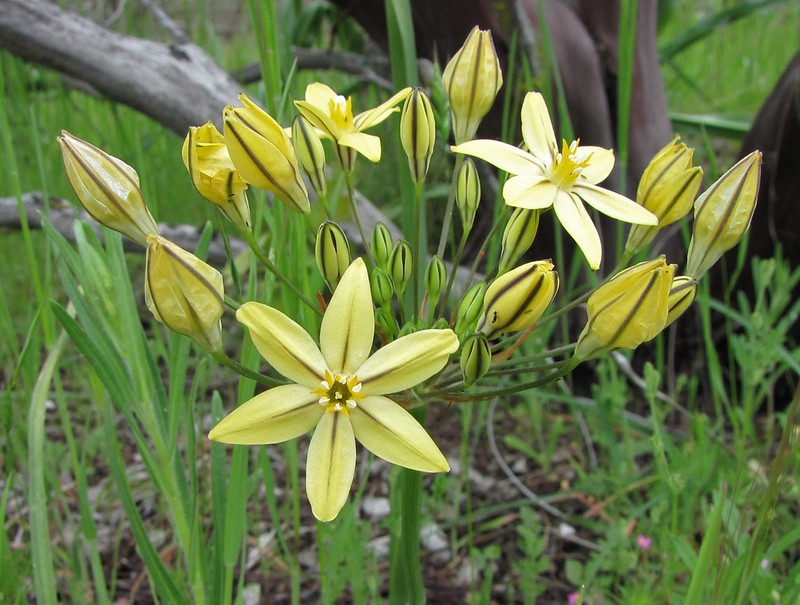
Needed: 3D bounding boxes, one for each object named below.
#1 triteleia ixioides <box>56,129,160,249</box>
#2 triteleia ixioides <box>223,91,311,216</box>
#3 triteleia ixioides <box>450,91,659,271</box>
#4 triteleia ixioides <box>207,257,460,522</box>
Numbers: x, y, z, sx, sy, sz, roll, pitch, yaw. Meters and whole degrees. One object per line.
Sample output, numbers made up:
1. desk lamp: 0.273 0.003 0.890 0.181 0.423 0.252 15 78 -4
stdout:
1. triteleia ixioides: -0.724 -0.285 2.040 0.213 0.270 0.110 -1 36 3
2. triteleia ixioides: -0.335 -0.380 2.062 0.181 0.298 0.157 -9 37 -7
3. triteleia ixioides: 0.397 -0.309 2.015 0.481 0.195 0.345 20 46 24
4. triteleia ixioides: -0.132 0.196 1.901 0.515 0.371 0.401 12 42 18
